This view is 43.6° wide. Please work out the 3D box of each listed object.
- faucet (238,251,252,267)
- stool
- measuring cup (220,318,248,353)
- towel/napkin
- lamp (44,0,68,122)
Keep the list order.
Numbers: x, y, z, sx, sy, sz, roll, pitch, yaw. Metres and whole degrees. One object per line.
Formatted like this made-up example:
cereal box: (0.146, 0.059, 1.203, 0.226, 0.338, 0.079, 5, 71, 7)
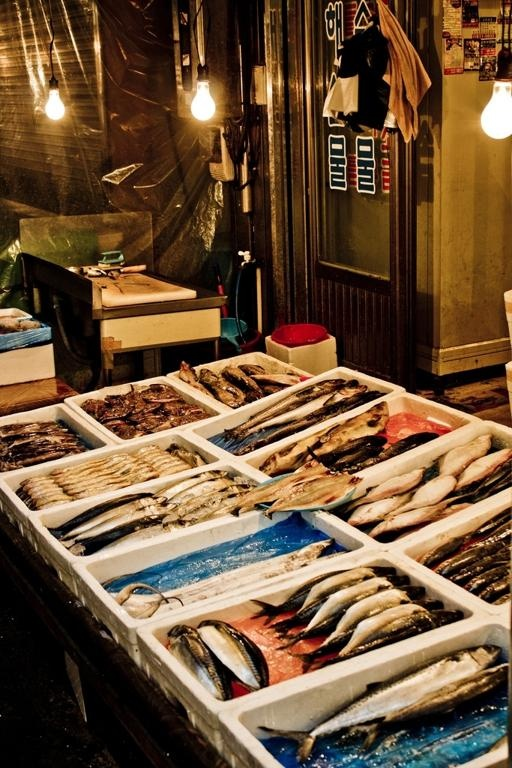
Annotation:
faucet: (-0.099, -1.180, 6.065, 0.088, 0.162, 0.292, 4, 16, -6)
stool: (0.357, -0.300, 5.094, 0.457, 0.341, 0.447, -19, 27, -35)
measuring cup: (-0.204, -0.467, 5.873, 0.187, 0.140, 0.359, -5, 50, -7)
towel/napkin: (0.908, -1.933, 3.947, 0.357, 0.828, 0.289, -6, 14, -10)
lamp: (-1.769, -2.774, 5.463, 0.180, 0.978, 0.499, -7, 14, -15)
